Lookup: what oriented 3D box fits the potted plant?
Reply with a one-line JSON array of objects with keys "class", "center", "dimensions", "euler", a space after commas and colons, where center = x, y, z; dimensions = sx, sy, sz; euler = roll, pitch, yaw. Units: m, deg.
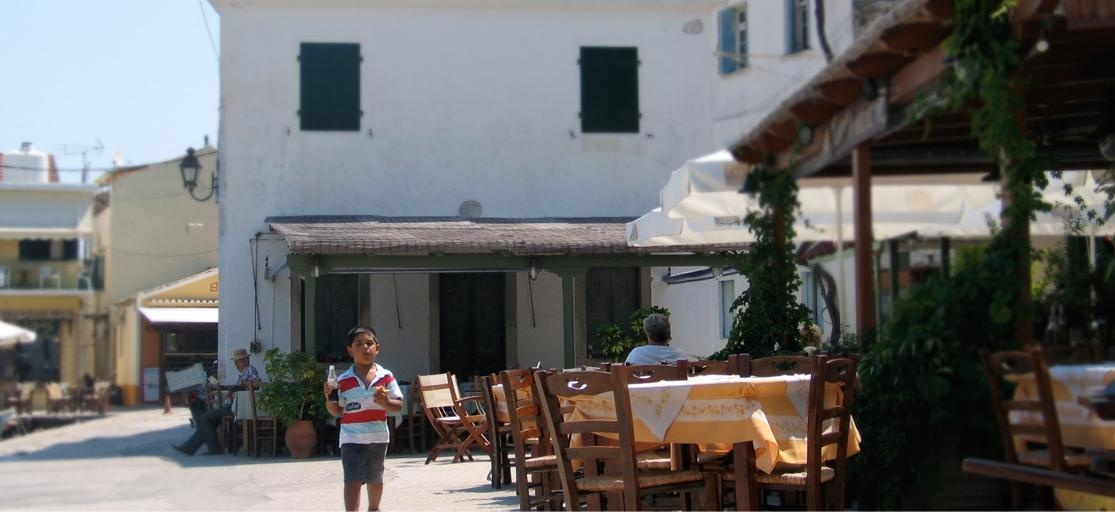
[{"class": "potted plant", "center": [-6.752, 4.000, 38.455], "dimensions": [2.253, 2.821, 2.043], "euler": [-4, -5, 16]}]

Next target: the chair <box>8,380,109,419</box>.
[{"class": "chair", "center": [-19.236, 5.514, 54.253], "dimensions": [4.908, 2.175, 2.097], "euler": [0, -3, -20]}]

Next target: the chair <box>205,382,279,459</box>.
[{"class": "chair", "center": [-8.832, 4.272, 38.344], "dimensions": [2.562, 2.683, 1.295], "euler": [0, 0, -5]}]

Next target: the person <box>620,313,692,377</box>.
[{"class": "person", "center": [2.406, 2.120, 33.618], "dimensions": [1.895, 1.465, 0.861], "euler": [0, -5, -13]}]
